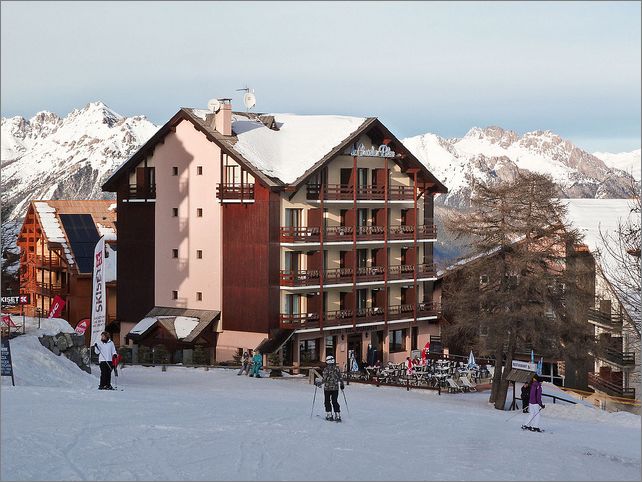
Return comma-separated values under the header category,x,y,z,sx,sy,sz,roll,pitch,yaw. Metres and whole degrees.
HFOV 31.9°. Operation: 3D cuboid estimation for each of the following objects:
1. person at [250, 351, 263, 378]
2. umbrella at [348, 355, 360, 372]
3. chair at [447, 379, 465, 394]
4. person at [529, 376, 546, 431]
category,x,y,z,sx,sy,sz,roll,pitch,yaw
person,-4.085,7.912,71.112,0.683,1.319,1.447,4,1,-3
umbrella,2.404,8.749,81.199,0.587,1.208,1.565,4,1,-5
chair,8.736,9.540,74.386,0.604,1.012,0.980,2,-8,30
person,10.918,8.169,56.490,0.765,2.801,0.800,7,0,-28
